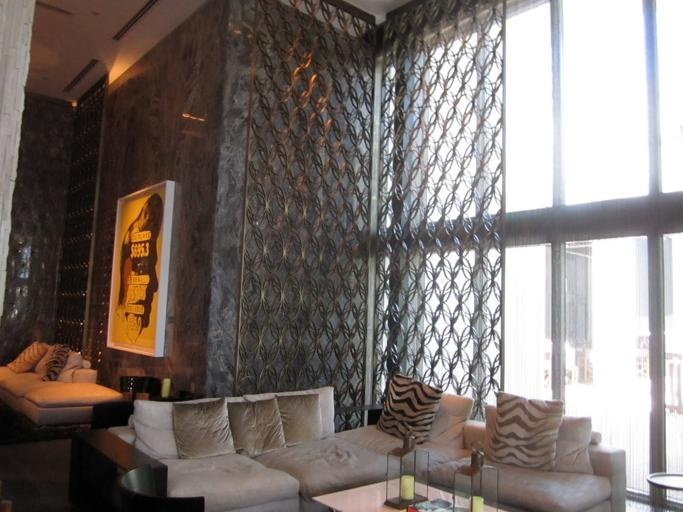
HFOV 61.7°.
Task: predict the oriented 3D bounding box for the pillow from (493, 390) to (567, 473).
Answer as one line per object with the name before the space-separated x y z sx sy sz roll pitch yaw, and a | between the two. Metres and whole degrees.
pillow | 1.731 1.658 5.303 0.437 0.529 0.187 4 -26 38

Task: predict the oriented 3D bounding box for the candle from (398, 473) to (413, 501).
candle | 0.506 1.769 4.370 0.102 0.180 0.053 4 -7 -12

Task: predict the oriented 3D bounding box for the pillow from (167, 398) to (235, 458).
pillow | -1.277 1.606 5.298 0.463 0.542 0.146 4 -14 -33

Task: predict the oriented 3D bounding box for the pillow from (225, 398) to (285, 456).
pillow | -0.822 1.655 5.532 0.457 0.518 0.147 -1 -13 -31

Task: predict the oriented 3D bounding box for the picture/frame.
picture/frame | -2.497 0.228 7.194 0.157 2.593 1.983 4 4 -34
